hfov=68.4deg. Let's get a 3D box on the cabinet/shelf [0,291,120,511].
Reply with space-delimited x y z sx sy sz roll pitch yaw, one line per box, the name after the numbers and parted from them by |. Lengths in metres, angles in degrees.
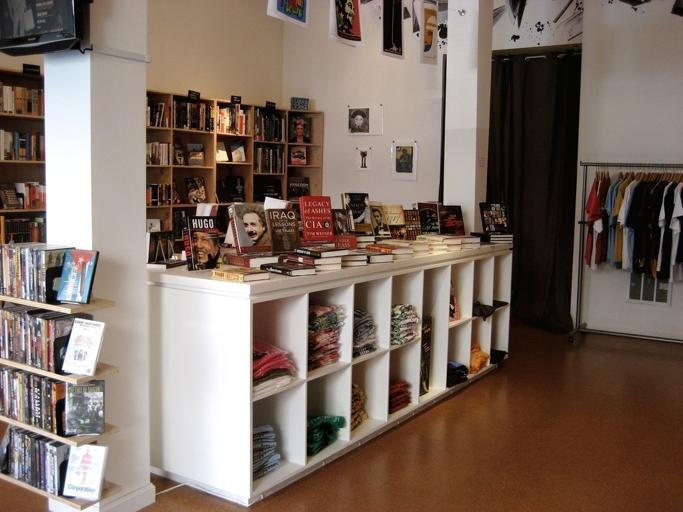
-1.388 0.686 2.479 0.973 0.975 0.292 7 7 34 | cabinet/shelf
